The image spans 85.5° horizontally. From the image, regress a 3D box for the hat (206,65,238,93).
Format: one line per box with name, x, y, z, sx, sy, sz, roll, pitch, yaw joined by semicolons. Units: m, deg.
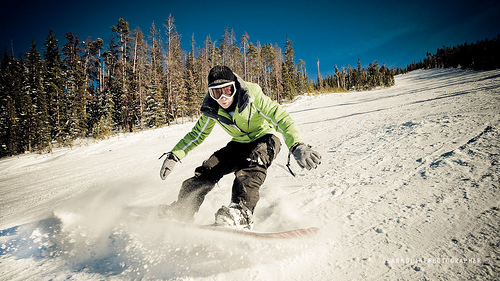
hat;-0.823;-1.815;7.587;0.537;0.424;0.700;-10;-31;-8
